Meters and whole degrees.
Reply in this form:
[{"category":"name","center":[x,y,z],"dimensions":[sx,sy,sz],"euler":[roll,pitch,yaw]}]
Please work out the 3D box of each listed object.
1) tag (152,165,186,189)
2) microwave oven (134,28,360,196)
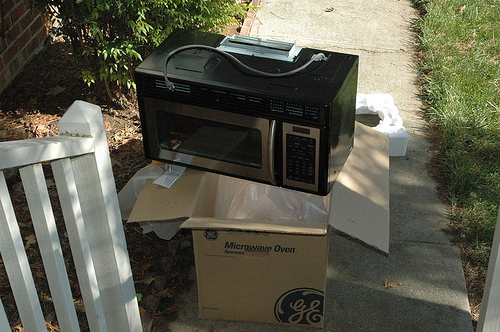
[{"category":"tag","center":[-0.583,0.067,3.016],"dimensions":[0.145,0.011,0.255],"euler":[15,39,22]},{"category":"microwave oven","center":[-0.026,-0.418,2.979],"dimensions":[1.368,0.824,0.873],"euler":[14,41,19]}]
